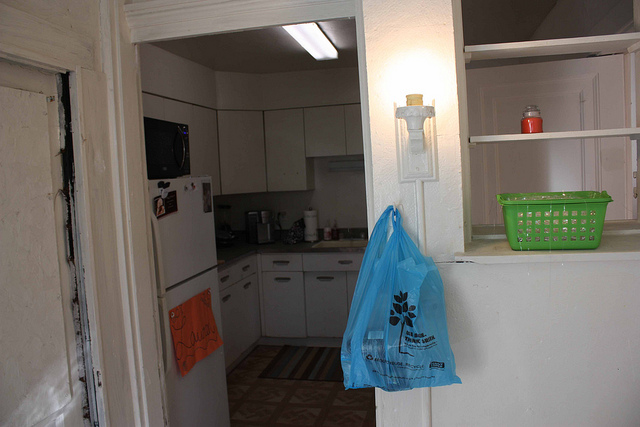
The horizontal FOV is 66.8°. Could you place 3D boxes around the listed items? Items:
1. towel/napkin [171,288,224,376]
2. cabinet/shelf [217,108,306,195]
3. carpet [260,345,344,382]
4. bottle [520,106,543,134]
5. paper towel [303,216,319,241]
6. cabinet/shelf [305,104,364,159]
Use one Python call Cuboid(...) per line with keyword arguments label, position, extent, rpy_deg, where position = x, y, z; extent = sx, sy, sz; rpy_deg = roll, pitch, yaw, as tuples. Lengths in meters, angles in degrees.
Cuboid(label="towel/napkin", position=(-0.809, 0.778, 3.132), extent=(0.050, 0.451, 0.608), rpy_deg=(-8, 6, 15))
Cuboid(label="cabinet/shelf", position=(-0.585, -0.619, 5.056), extent=(0.920, 0.854, 0.335), rpy_deg=(-3, -5, -8))
Cuboid(label="carpet", position=(-0.120, 1.345, 4.388), extent=(0.725, 0.031, 0.672), rpy_deg=(-1, 7, 12))
Cuboid(label="bottle", position=(1.130, -0.504, 2.611), extent=(0.100, 0.157, 0.291), rpy_deg=(0, 8, 22))
Cuboid(label="paper towel", position=(-0.092, 0.157, 5.139), extent=(0.172, 0.269, 0.137), rpy_deg=(-5, 7, -17))
Cuboid(label="cabinet/shelf", position=(0.125, -0.841, 4.959), extent=(0.622, 0.534, 0.231), rpy_deg=(-3, 1, 15))
